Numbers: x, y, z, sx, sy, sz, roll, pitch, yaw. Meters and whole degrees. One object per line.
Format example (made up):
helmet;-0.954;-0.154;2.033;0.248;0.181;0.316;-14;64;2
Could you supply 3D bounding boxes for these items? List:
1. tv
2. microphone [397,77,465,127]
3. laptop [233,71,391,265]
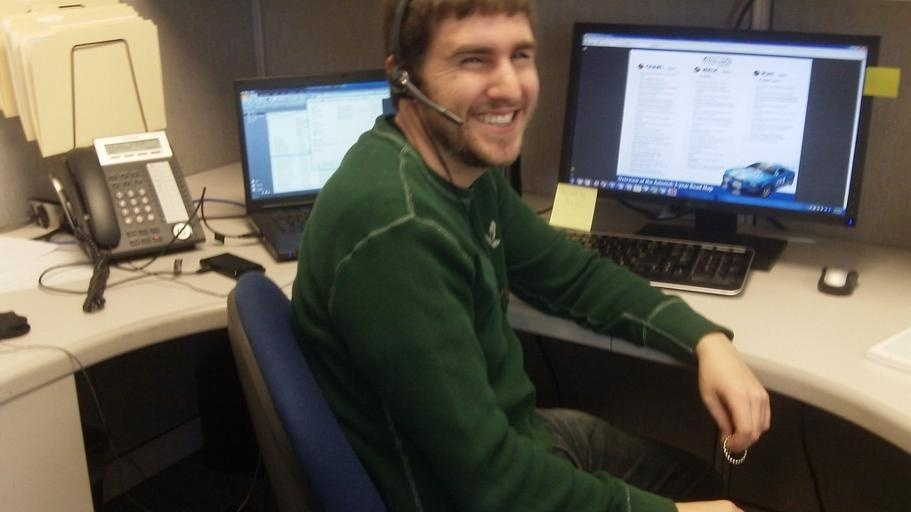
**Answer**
tv;0.732;-0.307;1.887;0.672;0.444;0.192;8;22;21
microphone;-0.047;-0.358;1.522;0.133;0.104;0.037;37;54;-4
laptop;-0.449;-0.352;2.205;0.668;0.508;0.476;-6;51;-11
